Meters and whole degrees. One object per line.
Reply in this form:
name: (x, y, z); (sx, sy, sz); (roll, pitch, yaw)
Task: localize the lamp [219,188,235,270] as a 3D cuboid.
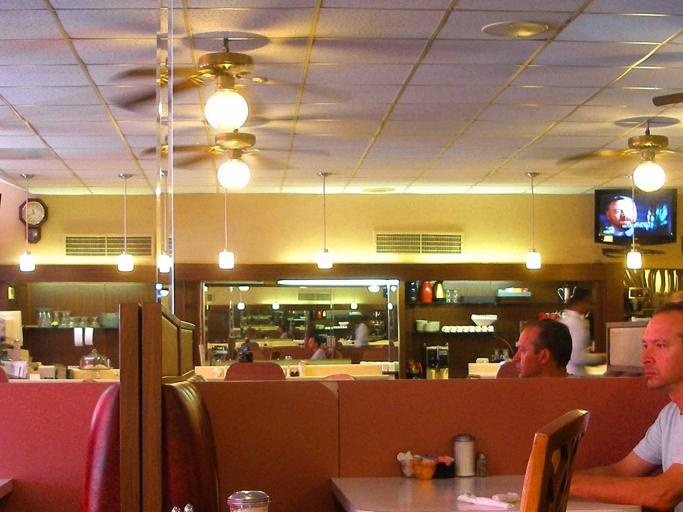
lamp: (-1.770, -0.426, 10.475); (0.259, 1.227, 0.648); (0, -3, -10)

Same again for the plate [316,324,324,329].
plate: (-0.357, 1.165, 11.346); (0.160, 0.081, 0.072); (2, -12, -4)

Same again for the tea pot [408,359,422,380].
tea pot: (1.191, 1.814, 10.999); (0.302, 0.434, 0.274); (0, -10, 8)

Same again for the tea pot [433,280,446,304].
tea pot: (1.634, 0.596, 11.274); (0.258, 0.352, 0.139); (0, -3, -19)

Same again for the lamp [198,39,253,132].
lamp: (-0.962, -1.329, 5.690); (0.432, 0.642, 0.879); (0, -3, -9)

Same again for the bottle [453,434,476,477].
bottle: (0.666, 1.066, 3.669); (0.124, 0.214, 0.074); (-1, -3, 0)

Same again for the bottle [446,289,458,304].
bottle: (1.822, 0.665, 11.278); (0.242, 0.258, 0.151); (2, -14, -4)

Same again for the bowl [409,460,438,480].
bowl: (0.435, 1.116, 3.593); (0.125, 0.071, 0.106); (-5, -15, 7)

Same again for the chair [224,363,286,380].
chair: (-0.830, 1.091, 6.481); (0.610, 0.187, 0.168); (-1, -2, 14)

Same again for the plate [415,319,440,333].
plate: (1.409, 1.136, 11.159); (0.300, 0.113, 0.214); (1, -3, 21)

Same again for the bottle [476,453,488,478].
bottle: (0.756, 1.127, 3.695); (0.093, 0.120, 0.133); (0, 2, 7)

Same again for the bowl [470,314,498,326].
bowl: (2.350, 1.053, 11.239); (0.396, 0.176, 0.241); (-1, -3, 6)

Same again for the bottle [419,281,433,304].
bottle: (1.406, 0.584, 11.226); (0.223, 0.349, 0.133); (-1, -3, 4)
